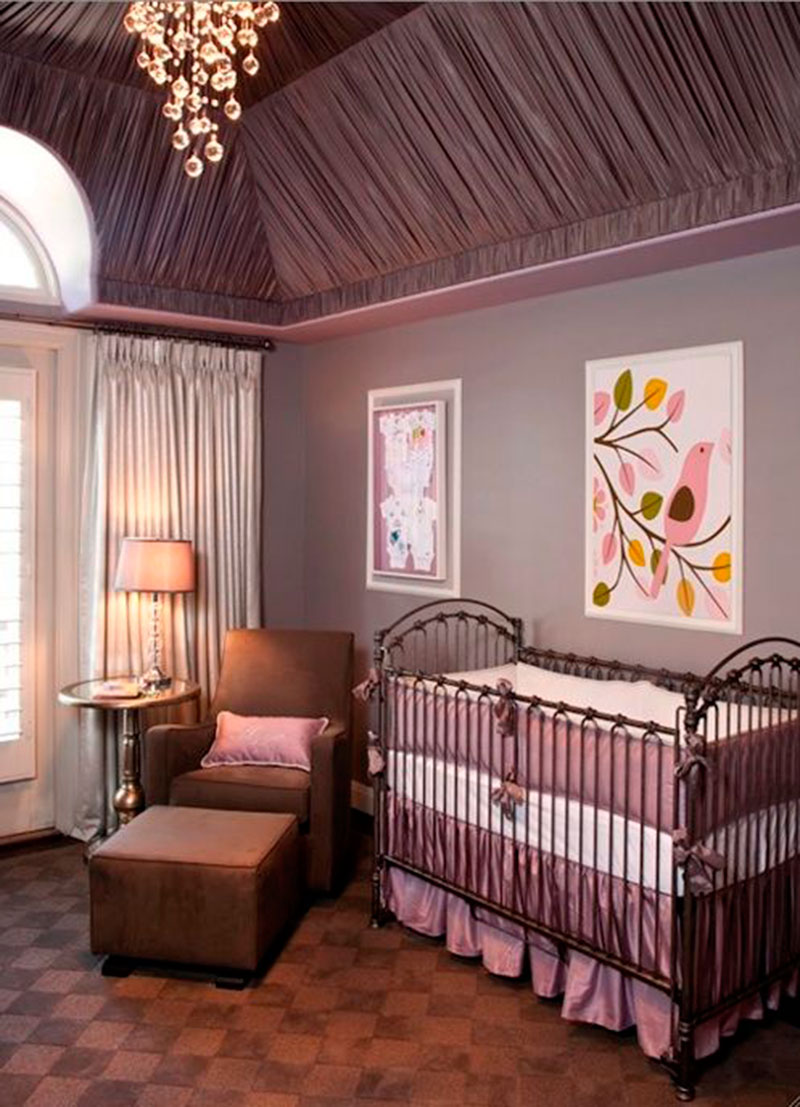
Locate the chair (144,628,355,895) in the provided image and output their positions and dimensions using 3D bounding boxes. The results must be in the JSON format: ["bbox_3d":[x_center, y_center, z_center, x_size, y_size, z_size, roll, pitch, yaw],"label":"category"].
[{"bbox_3d":[-0.557,0.809,3.777,0.801,1.170,0.983,-1,-8,10],"label":"chair"}]

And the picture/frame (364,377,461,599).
[{"bbox_3d":[0.051,-0.314,4.231,0.151,1.037,0.737,0,-1,-29],"label":"picture/frame"}]

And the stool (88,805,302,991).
[{"bbox_3d":[-0.670,1.082,2.892,0.483,0.328,0.504,0,-1,14],"label":"stool"}]
